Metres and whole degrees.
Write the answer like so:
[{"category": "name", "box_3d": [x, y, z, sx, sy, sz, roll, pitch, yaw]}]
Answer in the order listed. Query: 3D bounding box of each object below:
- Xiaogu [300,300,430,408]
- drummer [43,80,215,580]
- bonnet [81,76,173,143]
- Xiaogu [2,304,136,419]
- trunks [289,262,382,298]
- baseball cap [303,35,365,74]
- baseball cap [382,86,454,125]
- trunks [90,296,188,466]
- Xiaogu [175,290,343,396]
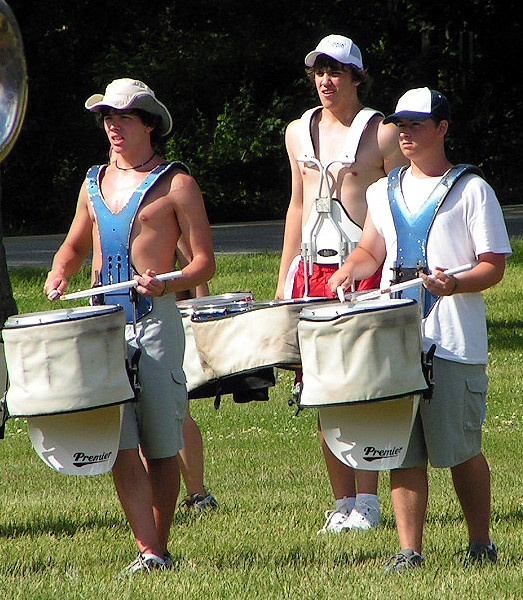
[{"category": "Xiaogu", "box_3d": [0.378, 0.168, 4.539, 0.378, 0.290, 0.391, -1, 7, 40]}, {"category": "drummer", "box_3d": [-0.593, 0.125, 5.117, 0.642, 1.986, 0.652, 1, 3, 32]}, {"category": "bonnet", "box_3d": [-0.487, -0.781, 5.188, 0.318, 0.147, 0.248, 15, -24, -22]}, {"category": "Xiaogu", "box_3d": [-0.663, 0.196, 4.571, 0.393, 0.339, 0.405, -2, 14, 38]}, {"category": "trunks", "box_3d": [0.258, -0.103, 6.143, 0.129, 0.168, 0.231, 4, -3, -36]}, {"category": "baseball cap", "box_3d": [0.348, -1.182, 5.958, 0.180, 0.124, 0.251, 9, 4, 8]}, {"category": "baseball cap", "box_3d": [0.643, -0.781, 5.025, 0.195, 0.103, 0.139, 7, 0, -14]}, {"category": "trunks", "box_3d": [-0.471, 0.351, 4.989, 0.282, 0.201, 0.542, 2, -24, 9]}, {"category": "Xiaogu", "box_3d": [-0.001, 0.175, 5.312, 0.528, 0.329, 0.426, -2, 3, 37]}]
